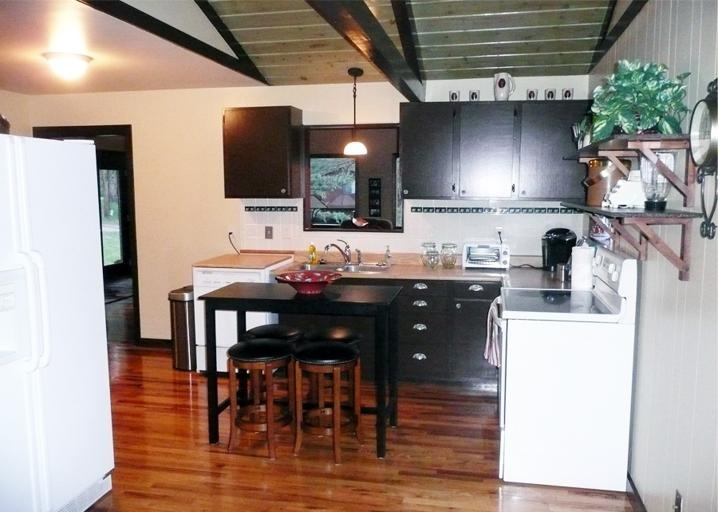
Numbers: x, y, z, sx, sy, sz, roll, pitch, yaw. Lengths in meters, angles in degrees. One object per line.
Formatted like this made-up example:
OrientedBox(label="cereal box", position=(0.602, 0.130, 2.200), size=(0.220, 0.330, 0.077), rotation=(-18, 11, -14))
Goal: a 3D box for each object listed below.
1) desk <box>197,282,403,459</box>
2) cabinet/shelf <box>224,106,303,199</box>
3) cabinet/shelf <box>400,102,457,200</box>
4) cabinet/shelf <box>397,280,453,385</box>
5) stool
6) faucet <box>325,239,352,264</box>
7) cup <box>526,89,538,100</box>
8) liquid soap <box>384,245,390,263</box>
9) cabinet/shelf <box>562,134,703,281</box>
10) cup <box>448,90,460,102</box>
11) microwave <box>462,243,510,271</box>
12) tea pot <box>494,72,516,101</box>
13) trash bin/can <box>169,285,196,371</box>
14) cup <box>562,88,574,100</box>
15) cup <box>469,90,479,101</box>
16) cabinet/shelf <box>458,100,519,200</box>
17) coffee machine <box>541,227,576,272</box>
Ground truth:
OrientedBox(label="desk", position=(-0.408, 0.913, 4.661), size=(1.513, 1.047, 0.637), rotation=(0, 2, 12))
OrientedBox(label="cabinet/shelf", position=(-0.801, -1.032, 6.156), size=(0.960, 0.912, 0.716), rotation=(8, 12, 34))
OrientedBox(label="cabinet/shelf", position=(0.644, -0.977, 5.591), size=(0.504, 0.870, 0.166), rotation=(1, 15, 7))
OrientedBox(label="cabinet/shelf", position=(0.503, 0.791, 5.712), size=(0.712, 0.817, 0.672), rotation=(-4, -13, 23))
OrientedBox(label="stool", position=(-0.499, 0.981, 4.765), size=(1.012, 0.810, 1.239), rotation=(-1, 13, -1))
OrientedBox(label="faucet", position=(-0.189, -0.037, 6.044), size=(0.253, 0.227, 0.408), rotation=(-1, 13, -1))
OrientedBox(label="cup", position=(1.598, -1.475, 5.529), size=(0.099, 0.115, 0.318), rotation=(3, 13, 15))
OrientedBox(label="liquid soap", position=(0.292, -0.015, 6.039), size=(0.064, 0.158, 0.122), rotation=(-1, 14, 2))
OrientedBox(label="cabinet/shelf", position=(1.746, -0.289, 3.819), size=(0.425, 0.605, 1.365), rotation=(1, 6, 13))
OrientedBox(label="cup", position=(0.898, -1.493, 5.621), size=(0.098, 0.115, 0.261), rotation=(1, 13, 9))
OrientedBox(label="microwave", position=(1.187, 0.009, 5.669), size=(0.390, 0.167, 0.272), rotation=(0, 1, 11))
OrientedBox(label="tea pot", position=(1.315, -1.529, 5.448), size=(0.172, 0.251, 0.083), rotation=(1, 15, 9))
OrientedBox(label="trash bin/can", position=(-1.764, 0.751, 6.071), size=(0.262, 0.799, 0.320), rotation=(-5, 15, -16))
OrientedBox(label="cup", position=(1.893, -1.465, 5.447), size=(0.128, 0.109, 0.111), rotation=(3, 19, 1))
OrientedBox(label="cup", position=(1.070, -1.479, 5.556), size=(0.114, 0.106, 0.103), rotation=(2, 2, 0))
OrientedBox(label="cabinet/shelf", position=(1.178, -0.966, 5.502), size=(0.505, 0.856, 0.148), rotation=(1, 15, 8))
OrientedBox(label="coffee machine", position=(1.777, -0.066, 5.391), size=(0.421, 0.379, 0.320), rotation=(3, -2, -42))
